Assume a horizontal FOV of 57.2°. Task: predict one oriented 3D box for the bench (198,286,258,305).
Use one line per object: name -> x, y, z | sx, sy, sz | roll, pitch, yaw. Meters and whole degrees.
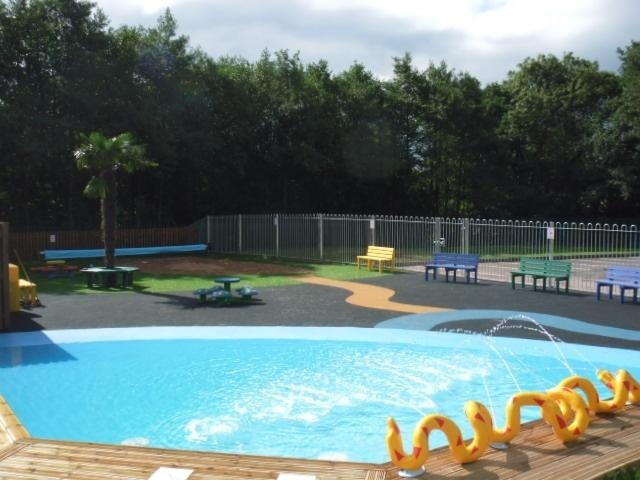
bench -> -2.942, 1.716, 18.549 | 1.928, 0.540, 1.374 | 1, 2, -9
